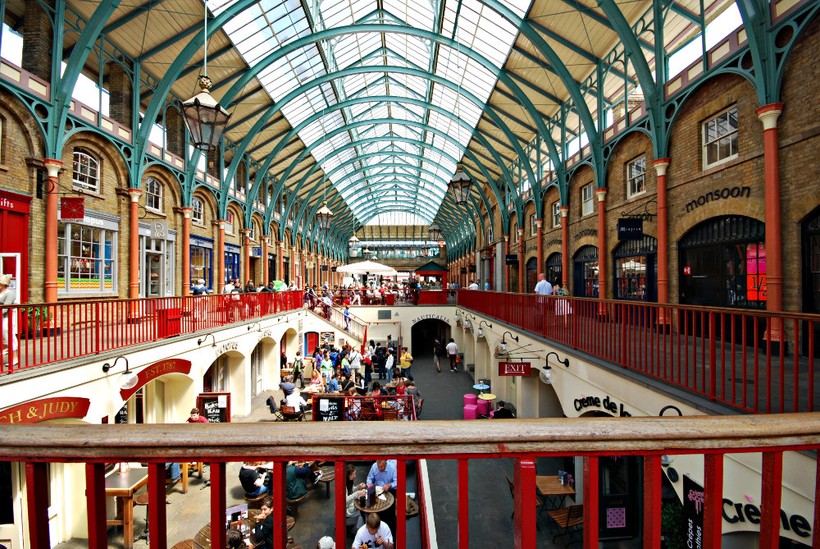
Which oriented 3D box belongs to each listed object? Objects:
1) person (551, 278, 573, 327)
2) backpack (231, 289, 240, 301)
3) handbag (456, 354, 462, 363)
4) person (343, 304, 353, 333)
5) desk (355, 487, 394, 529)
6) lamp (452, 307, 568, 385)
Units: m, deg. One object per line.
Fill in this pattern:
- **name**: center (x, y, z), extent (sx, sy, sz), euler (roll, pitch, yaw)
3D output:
- **person**: center (5.245, 0.969, 21.182), extent (0.299, 1.424, 1.337), euler (1, 1, -22)
- **backpack**: center (-7.138, 0.818, 25.036), extent (0.456, 0.489, 0.340), euler (2, 1, 22)
- **handbag**: center (3.083, 5.183, 38.093), extent (0.458, 0.398, 0.736), euler (-4, -2, -6)
- **person**: center (-3.797, 2.724, 37.184), extent (0.396, 1.303, 1.518), euler (0, 2, -6)
- **desk**: center (-0.985, 6.674, 17.437), extent (1.130, 1.480, 1.184), euler (0, 2, -7)
- **lamp**: center (3.994, 2.598, 22.774), extent (0.842, 1.707, 5.304), euler (-4, 8, -19)
